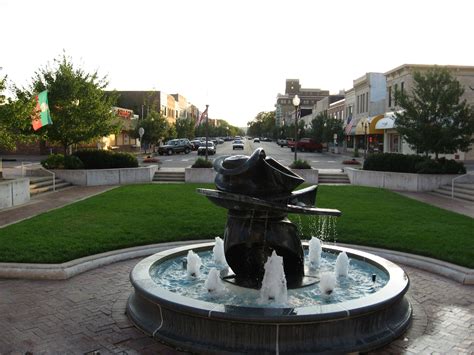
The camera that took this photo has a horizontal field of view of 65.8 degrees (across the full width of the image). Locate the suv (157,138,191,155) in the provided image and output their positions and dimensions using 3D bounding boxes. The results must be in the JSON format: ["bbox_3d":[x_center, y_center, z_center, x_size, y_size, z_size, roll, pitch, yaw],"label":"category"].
[{"bbox_3d":[-8.802,-4.126,50.847,2.042,1.952,3.886,-2,0,38],"label":"suv"}]

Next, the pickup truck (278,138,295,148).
[{"bbox_3d":[9.563,-6.532,71.765,1.683,1.471,3.397,1,1,0],"label":"pickup truck"}]

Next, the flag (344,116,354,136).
[{"bbox_3d":[13.608,-6.133,44.465,0.664,2.288,7.949,3,11,17],"label":"flag"}]
